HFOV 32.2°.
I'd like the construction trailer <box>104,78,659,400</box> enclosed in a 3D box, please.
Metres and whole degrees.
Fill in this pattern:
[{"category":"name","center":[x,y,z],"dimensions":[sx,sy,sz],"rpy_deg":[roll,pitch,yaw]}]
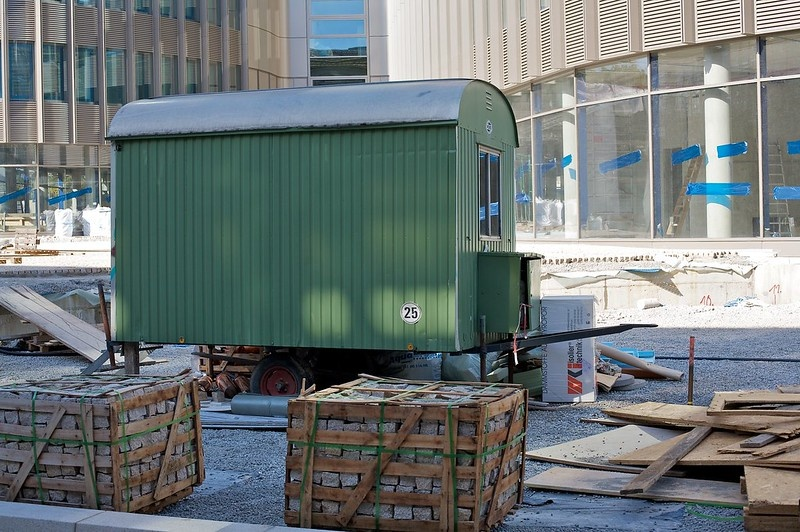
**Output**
[{"category":"construction trailer","center":[-1.281,-0.835,30.837],"dimensions":[11.489,6.191,5.586],"rpy_deg":[1,0,19]}]

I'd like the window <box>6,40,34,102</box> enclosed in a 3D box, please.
[{"category":"window","center":[-15.412,-8.028,56.685],"dimensions":[1.030,2.411,0.163],"rpy_deg":[-5,4,-28]}]

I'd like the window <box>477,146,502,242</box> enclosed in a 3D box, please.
[{"category":"window","center":[1.869,-1.523,28.657],"dimensions":[0.626,1.654,0.503],"rpy_deg":[2,-13,-4]}]

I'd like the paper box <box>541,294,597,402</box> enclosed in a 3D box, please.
[{"category":"paper box","center":[3.478,1.722,28.845],"dimensions":[1.198,2.132,0.938],"rpy_deg":[-5,-1,-13]}]

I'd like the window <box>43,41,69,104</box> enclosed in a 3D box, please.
[{"category":"window","center":[-14.194,-8.046,57.240],"dimensions":[1.045,2.309,0.204],"rpy_deg":[-5,4,-36]}]

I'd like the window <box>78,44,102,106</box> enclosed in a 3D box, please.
[{"category":"window","center":[-13.018,-8.063,58.003],"dimensions":[0.958,2.298,0.180],"rpy_deg":[-6,4,-37]}]
